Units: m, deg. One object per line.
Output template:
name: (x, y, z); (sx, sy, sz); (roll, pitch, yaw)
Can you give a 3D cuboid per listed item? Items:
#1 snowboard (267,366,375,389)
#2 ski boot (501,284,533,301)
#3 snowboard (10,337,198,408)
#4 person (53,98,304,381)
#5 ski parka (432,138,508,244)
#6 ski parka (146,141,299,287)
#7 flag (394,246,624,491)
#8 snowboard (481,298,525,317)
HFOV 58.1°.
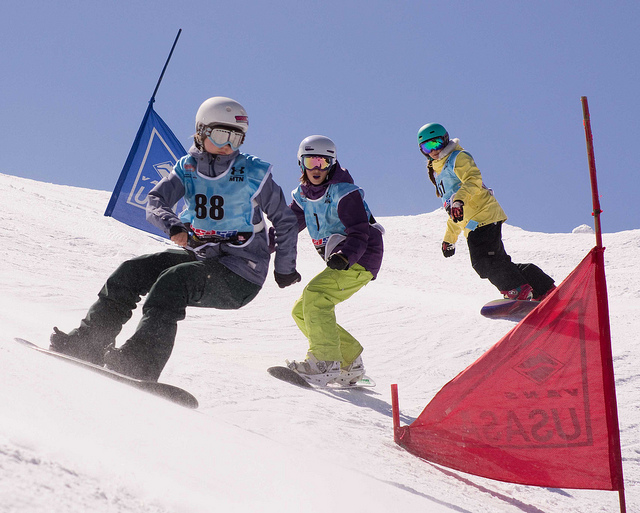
snowboard: (0.037, 1.181, 5.508); (1.243, 0.092, 0.371); (15, 7, -45)
ski boot: (2.678, 0.485, 7.849); (0.436, 0.219, 0.158); (6, 5, 34)
snowboard: (-1.135, 0.600, 2.986); (1.062, 0.092, 0.157); (24, -37, 13)
person: (-0.915, -0.201, 3.970); (0.602, 1.744, 1.320); (3, -3, 40)
ski parka: (1.924, -0.775, 7.666); (0.571, 0.983, 1.142); (-22, -7, -9)
ski parka: (-0.666, -0.305, 4.237); (1.168, 0.880, 0.438); (7, -2, -33)
flag: (1.229, 0.687, 3.931); (1.418, 1.713, 0.102); (-6, -41, 24)
snowboard: (2.513, 0.719, 7.951); (0.075, 0.241, 0.676); (12, -9, -32)
